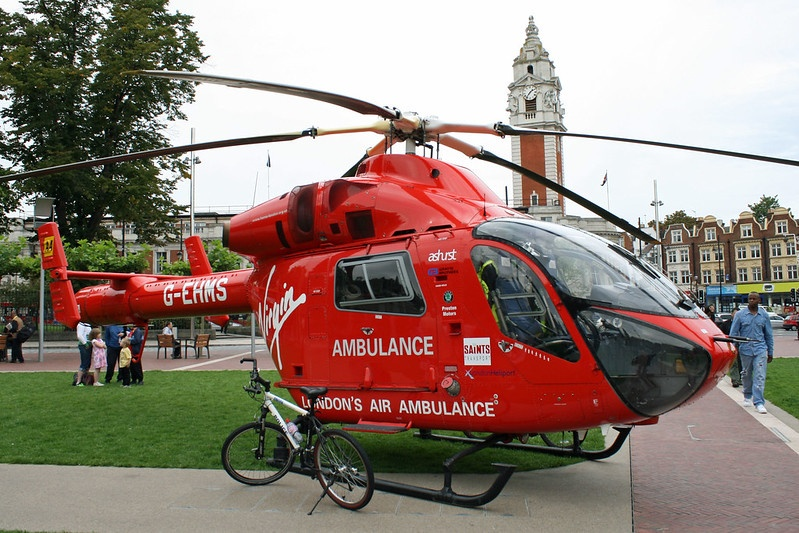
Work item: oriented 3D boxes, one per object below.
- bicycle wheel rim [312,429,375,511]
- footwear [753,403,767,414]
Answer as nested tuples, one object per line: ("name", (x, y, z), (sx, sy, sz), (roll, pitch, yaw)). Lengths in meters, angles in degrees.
("bicycle wheel rim", (-1.082, 3.778, 15.152), (1.360, 1.380, 0.516), (12, 20, 39))
("footwear", (8.772, 3.473, 19.822), (0.190, 0.177, 0.506), (-5, -13, 13))
